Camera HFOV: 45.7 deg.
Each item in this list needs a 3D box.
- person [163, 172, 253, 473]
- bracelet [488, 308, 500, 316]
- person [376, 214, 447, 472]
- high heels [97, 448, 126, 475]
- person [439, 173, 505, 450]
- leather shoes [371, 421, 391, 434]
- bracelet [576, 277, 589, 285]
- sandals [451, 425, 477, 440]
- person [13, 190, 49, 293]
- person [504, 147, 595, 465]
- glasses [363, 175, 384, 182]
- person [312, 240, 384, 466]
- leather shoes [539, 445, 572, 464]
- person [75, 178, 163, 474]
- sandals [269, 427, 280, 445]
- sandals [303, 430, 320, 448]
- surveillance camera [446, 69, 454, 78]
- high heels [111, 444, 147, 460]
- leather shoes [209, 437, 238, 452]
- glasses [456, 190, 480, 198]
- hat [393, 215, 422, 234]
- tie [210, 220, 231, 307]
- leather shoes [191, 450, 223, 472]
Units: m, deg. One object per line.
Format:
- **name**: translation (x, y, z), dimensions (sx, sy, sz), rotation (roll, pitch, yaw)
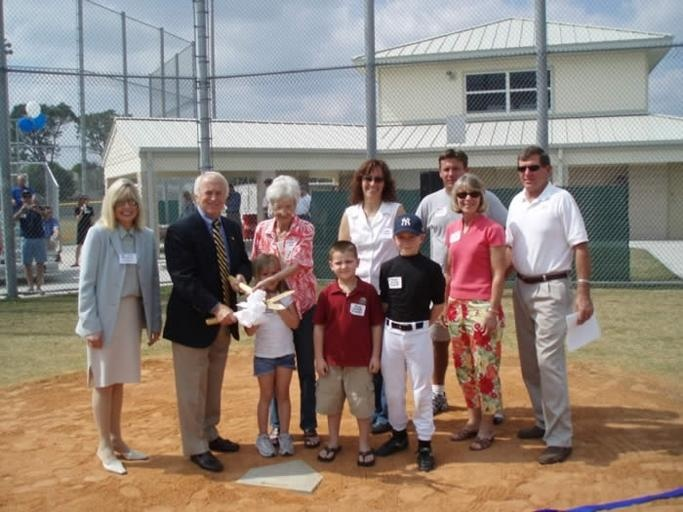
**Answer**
- **person**: translation (-1.318, 0.788, 7.939), dimensions (0.835, 2.611, 0.554), rotation (-3, 5, -24)
- **bracelet**: translation (1.541, 0.555, 8.050), dimensions (0.061, 0.080, 0.190), rotation (3, 6, 42)
- **person**: translation (0.700, 0.836, 7.940), dimensions (0.652, 2.470, 0.426), rotation (0, 4, 7)
- **high heels**: translation (-2.250, 2.008, 7.900), dimensions (0.139, 0.200, 0.419), rotation (-8, 10, -43)
- **person**: translation (1.364, 0.558, 8.184), dimensions (0.588, 2.748, 0.402), rotation (0, 4, 14)
- **leather shoes**: translation (0.425, 1.817, 8.543), dimensions (0.083, 0.111, 0.235), rotation (-9, -22, 31)
- **bracelet**: translation (2.401, 0.251, 7.939), dimensions (0.137, 0.069, 0.070), rotation (-2, 4, -16)
- **sandals**: translation (1.284, 1.840, 8.396), dimensions (0.285, 0.131, 0.118), rotation (1, -2, -18)
- **person**: translation (-5.564, -0.242, 14.467), dimensions (0.519, 1.860, 0.375), rotation (-3, 5, -28)
- **person**: translation (2.064, 0.447, 8.119), dimensions (0.551, 3.080, 0.858), rotation (-4, 5, -38)
- **glasses**: translation (0.337, -0.789, 8.329), dimensions (0.192, 0.077, 0.066), rotation (0, 4, 6)
- **person**: translation (0.077, 1.122, 8.004), dimensions (0.688, 1.864, 0.309), rotation (0, 4, 4)
- **leather shoes**: translation (2.083, 1.935, 7.901), dimensions (0.348, 0.144, 0.147), rotation (1, 29, -19)
- **person**: translation (-2.167, 0.682, 7.924), dimensions (0.796, 2.850, 0.406), rotation (-2, 5, -20)
- **sandals**: translation (-0.680, 1.847, 8.278), dimensions (0.110, 0.145, 0.329), rotation (1, -11, -7)
- **sandals**: translation (-0.304, 1.878, 8.274), dimensions (0.115, 0.139, 0.332), rotation (0, -9, -4)
- **surveillance camera**: translation (2.631, -4.347, 19.305), dimensions (0.198, 0.155, 0.050), rotation (6, 6, 5)
- **high heels**: translation (-2.123, 1.967, 8.090), dimensions (0.323, 0.083, 0.136), rotation (6, 1, 7)
- **leather shoes**: translation (-1.190, 1.930, 8.288), dimensions (0.329, 0.149, 0.128), rotation (0, 0, 2)
- **glasses**: translation (1.283, -0.608, 8.102), dimensions (0.228, 0.074, 0.058), rotation (-1, 4, 4)
- **hat**: translation (0.663, -0.303, 7.937), dimensions (0.290, 0.195, 0.196), rotation (0, 4, 5)
- **tie**: translation (-1.176, 0.031, 7.947), dimensions (0.128, 0.935, 0.132), rotation (-3, -22, -18)
- **leather shoes**: translation (-1.305, 2.005, 7.916), dimensions (0.309, 0.155, 0.155), rotation (9, 8, 28)
